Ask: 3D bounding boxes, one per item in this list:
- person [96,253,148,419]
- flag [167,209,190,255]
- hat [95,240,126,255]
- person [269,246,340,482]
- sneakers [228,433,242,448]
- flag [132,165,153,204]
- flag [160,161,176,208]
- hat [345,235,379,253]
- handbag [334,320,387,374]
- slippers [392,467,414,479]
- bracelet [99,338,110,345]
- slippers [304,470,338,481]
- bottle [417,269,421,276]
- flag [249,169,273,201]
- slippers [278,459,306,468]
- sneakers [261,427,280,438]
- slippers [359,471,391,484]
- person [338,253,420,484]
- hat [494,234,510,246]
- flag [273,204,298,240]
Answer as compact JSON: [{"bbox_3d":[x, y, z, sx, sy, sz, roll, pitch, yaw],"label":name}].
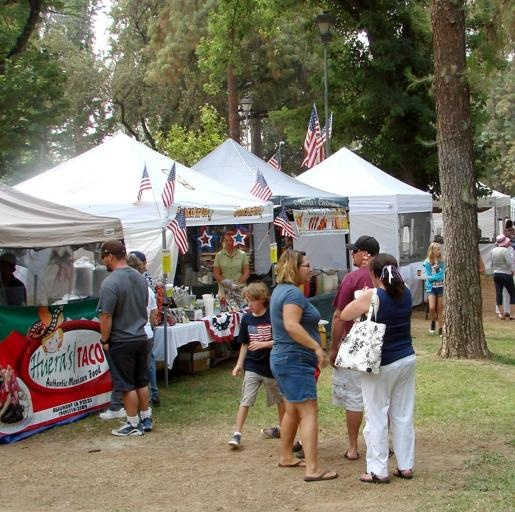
[{"bbox_3d":[-1.379,0.666,7.014,0.498,1.615,0.383,-2,3,-11],"label":"person"},{"bbox_3d":[-1.100,-0.335,9.278,0.254,0.636,0.423,-1,2,-1],"label":"flag"},{"bbox_3d":[-1.523,-0.093,7.073,0.204,0.106,0.152,4,6,29],"label":"hat"},{"bbox_3d":[0.337,0.901,5.609,0.440,1.883,0.612,-2,3,-21],"label":"person"},{"bbox_3d":[-0.221,1.780,6.584,0.075,0.096,0.225,16,-20,8],"label":"sneakers"},{"bbox_3d":[-1.616,-0.998,9.567,0.246,0.544,0.404,-2,2,-10],"label":"flag"},{"bbox_3d":[-1.219,-0.959,9.271,0.172,0.605,0.345,-2,3,-9],"label":"flag"},{"bbox_3d":[0.943,-0.107,6.138,0.217,0.127,0.147,5,9,19],"label":"hat"},{"bbox_3d":[0.759,0.640,5.198,0.382,0.474,0.175,9,11,-19],"label":"handbag"},{"bbox_3d":[1.162,1.747,5.509,0.063,0.066,0.134,-2,7,-33],"label":"slippers"},{"bbox_3d":[-1.568,0.866,6.930,0.122,0.063,0.066,0,3,36],"label":"bracelet"},{"bbox_3d":[0.509,1.758,5.534,0.207,0.051,0.098,-3,-1,-1],"label":"slippers"},{"bbox_3d":[3.601,0.375,15.334,0.092,0.169,0.165,2,1,15],"label":"bottle"},{"bbox_3d":[0.079,-1.142,11.312,0.295,0.472,0.510,-2,2,-13],"label":"flag"},{"bbox_3d":[0.298,1.809,5.925,0.196,0.059,0.083,-3,1,2],"label":"slippers"},{"bbox_3d":[0.136,1.818,7.023,0.228,0.097,0.078,3,1,5],"label":"sneakers"},{"bbox_3d":[0.905,1.752,5.372,0.183,0.082,0.095,7,5,21],"label":"slippers"},{"bbox_3d":[0.953,0.887,5.327,0.542,1.806,0.326,-1,3,1],"label":"person"},{"bbox_3d":[5.043,-0.315,14.110,0.263,0.232,0.891,0,2,19],"label":"hat"},{"bbox_3d":[0.459,-0.597,11.375,0.586,0.776,0.078,0,5,16],"label":"flag"}]
